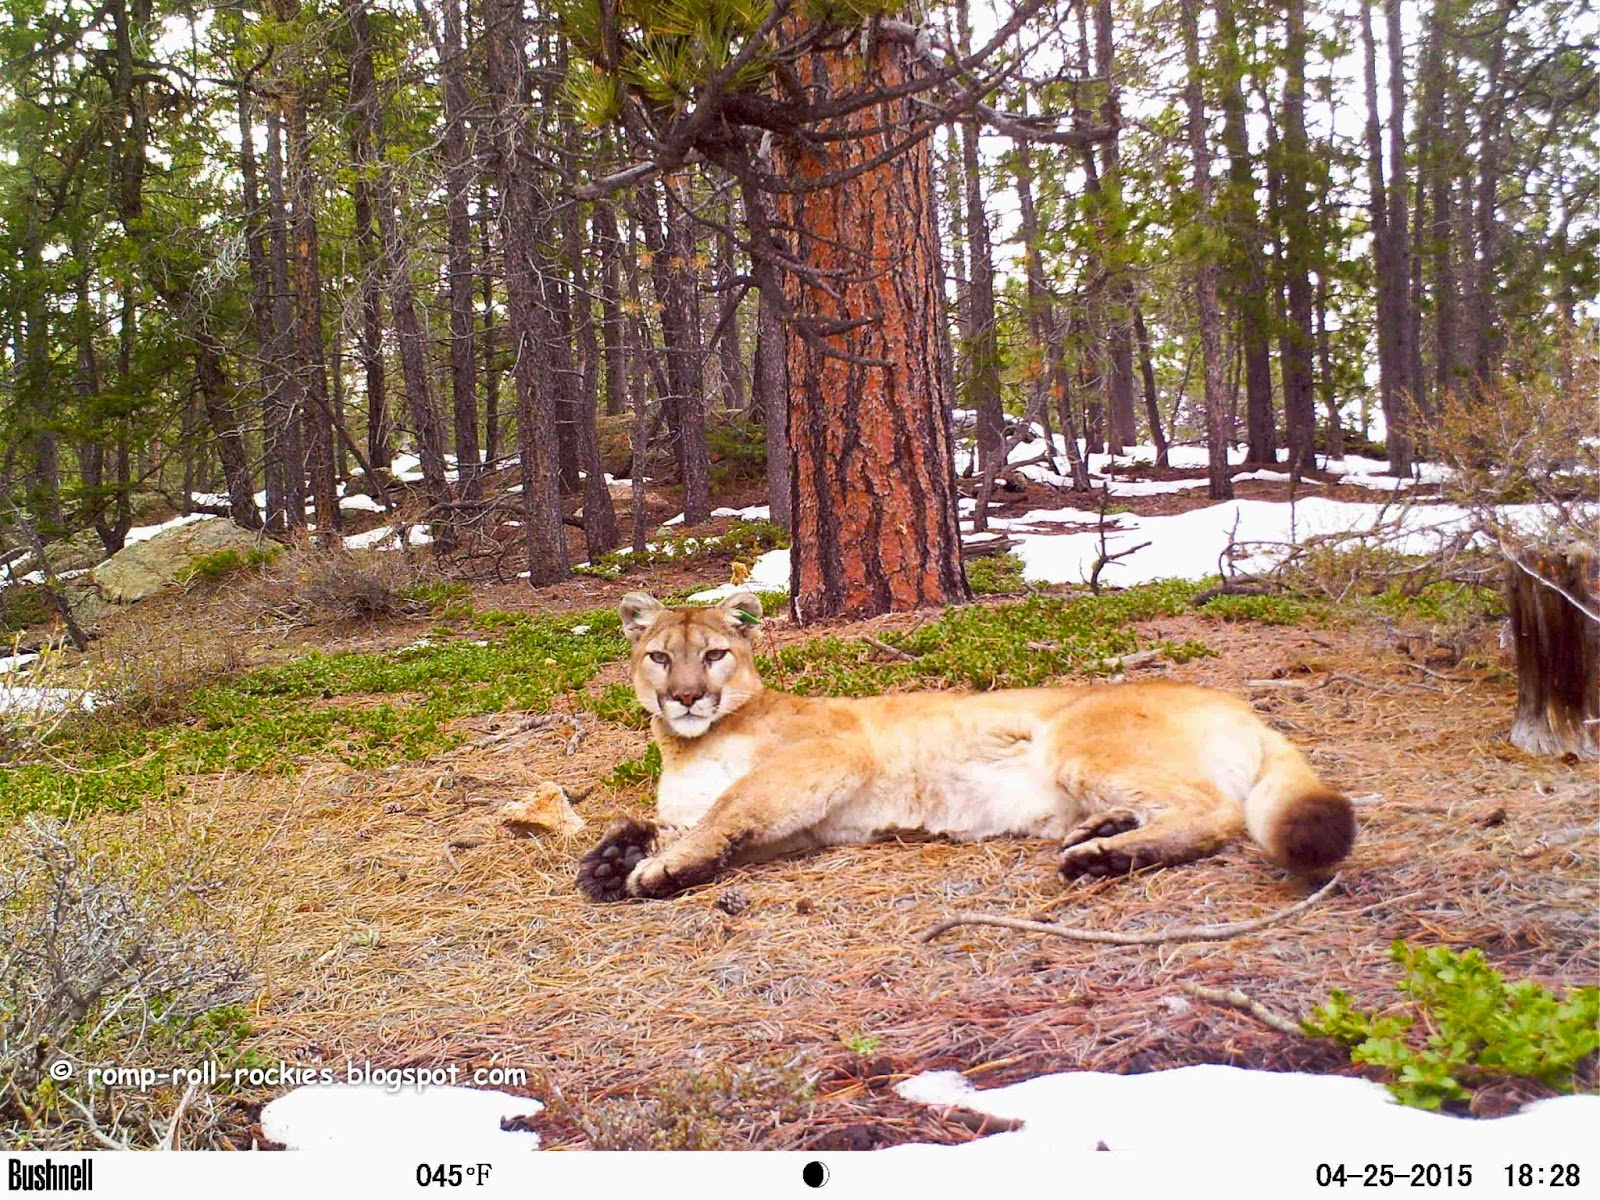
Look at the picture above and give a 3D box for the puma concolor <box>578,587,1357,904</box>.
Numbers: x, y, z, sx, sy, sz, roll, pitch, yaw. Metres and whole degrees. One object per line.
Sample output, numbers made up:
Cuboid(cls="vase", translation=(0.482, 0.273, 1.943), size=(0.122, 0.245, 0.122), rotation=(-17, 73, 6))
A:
Cuboid(cls="puma concolor", translation=(0.900, 0.924, 9.147), size=(3.894, 1.812, 1.907), rotation=(1, -19, 3))
